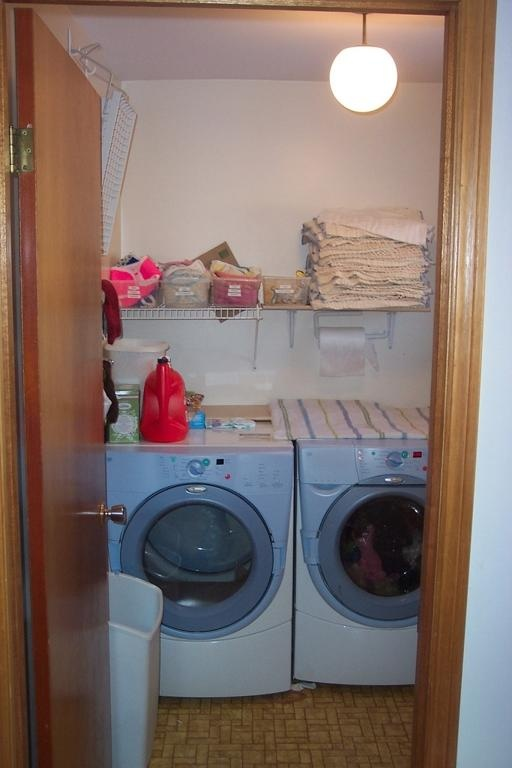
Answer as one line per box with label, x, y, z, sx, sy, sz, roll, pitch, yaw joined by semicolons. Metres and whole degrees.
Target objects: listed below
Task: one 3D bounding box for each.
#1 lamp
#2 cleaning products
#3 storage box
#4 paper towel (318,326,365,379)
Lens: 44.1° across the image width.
lamp;0.322;-0.966;1.859;0.185;0.254;0.317;-1;8;-7
cleaning products;-0.319;0.041;2.219;0.143;0.309;0.163;2;16;-5
storage box;-0.161;-0.348;2.364;0.751;0.131;0.125;-2;8;-14
paper towel;0.359;-0.136;2.705;0.190;0.204;0.060;-1;7;-9
